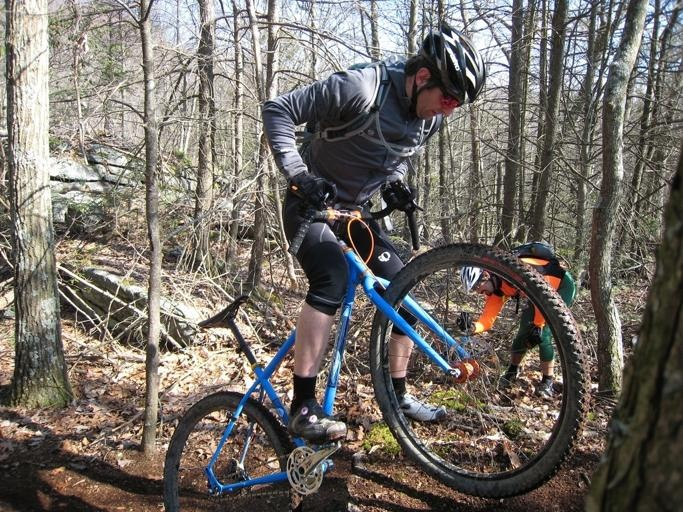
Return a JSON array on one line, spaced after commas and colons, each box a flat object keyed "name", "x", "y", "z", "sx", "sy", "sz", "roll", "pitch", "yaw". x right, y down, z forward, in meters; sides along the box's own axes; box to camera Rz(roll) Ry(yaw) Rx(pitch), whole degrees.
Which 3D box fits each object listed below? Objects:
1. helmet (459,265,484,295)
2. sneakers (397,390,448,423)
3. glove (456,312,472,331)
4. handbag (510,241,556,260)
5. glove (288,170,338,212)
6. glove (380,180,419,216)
[{"name": "helmet", "x": 0.952, "y": 0.163, "z": 4.397, "sx": 0.124, "sy": 0.201, "sz": 0.101, "roll": 10, "pitch": 20, "yaw": -27}, {"name": "sneakers", "x": 0.632, "y": 1.219, "z": 4.794, "sx": 0.497, "sy": 0.240, "sz": 0.179, "roll": 4, "pitch": -3, "yaw": 2}, {"name": "glove", "x": 0.988, "y": 0.528, "z": 4.790, "sx": 0.048, "sy": 0.123, "sz": 0.165, "roll": 2, "pitch": 35, "yaw": 38}, {"name": "handbag", "x": 1.777, "y": -0.075, "z": 5.550, "sx": 0.240, "sy": 0.137, "sz": 0.333, "roll": 28, "pitch": -7, "yaw": -12}, {"name": "glove", "x": -0.205, "y": -0.501, "z": 4.273, "sx": 0.284, "sy": 0.118, "sz": 0.238, "roll": 27, "pitch": -12, "yaw": 22}, {"name": "glove", "x": 0.465, "y": -0.462, "z": 4.677, "sx": 0.218, "sy": 0.125, "sz": 0.292, "roll": 1, "pitch": 50, "yaw": -23}]
